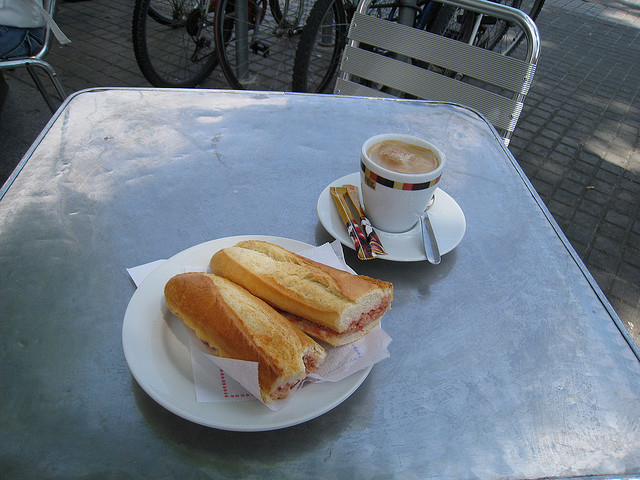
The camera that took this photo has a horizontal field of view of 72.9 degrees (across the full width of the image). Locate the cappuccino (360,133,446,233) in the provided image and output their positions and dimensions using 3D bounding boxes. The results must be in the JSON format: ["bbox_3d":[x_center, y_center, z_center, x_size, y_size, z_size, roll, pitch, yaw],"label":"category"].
[{"bbox_3d":[0.161,-0.116,0.857,0.153,0.147,0.192,27,45,29],"label":"cappuccino"}]

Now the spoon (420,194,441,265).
[{"bbox_3d":[0.205,-0.004,0.800,0.025,0.013,0.122,9,33,0],"label":"spoon"}]

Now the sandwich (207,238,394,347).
[{"bbox_3d":[-0.030,0.055,0.678,0.253,0.087,0.148,26,37,20],"label":"sandwich"}]

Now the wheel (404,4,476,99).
[{"bbox_3d":[0.773,-1.198,2.569,0.225,0.549,0.703,23,48,9],"label":"wheel"}]
